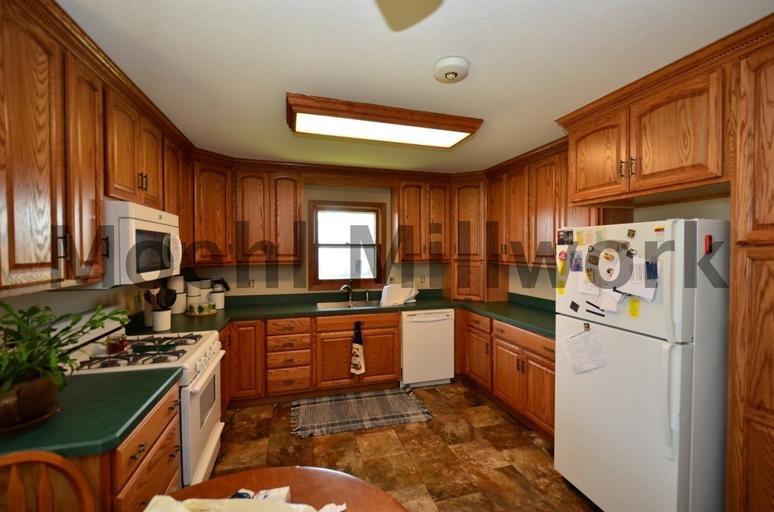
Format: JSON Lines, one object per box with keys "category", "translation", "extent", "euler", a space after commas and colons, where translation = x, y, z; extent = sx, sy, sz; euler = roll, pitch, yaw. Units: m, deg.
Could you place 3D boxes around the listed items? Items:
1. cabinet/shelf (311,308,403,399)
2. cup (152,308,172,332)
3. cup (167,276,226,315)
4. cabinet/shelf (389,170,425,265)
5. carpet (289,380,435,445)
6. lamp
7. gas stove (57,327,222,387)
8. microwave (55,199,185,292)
{"category": "cabinet/shelf", "translation": [-0.331, 0.960, 4.924], "extent": [0.894, 0.728, 0.327], "euler": [1, -6, -15]}
{"category": "cup", "translation": [-1.820, 0.538, 4.117], "extent": [0.165, 0.165, 0.161], "euler": [-1, 0, 0]}
{"category": "cup", "translation": [-1.765, 0.373, 4.708], "extent": [0.416, 0.252, 0.296], "euler": [-1, 1, -12]}
{"category": "cabinet/shelf", "translation": [0.268, -0.379, 5.424], "extent": [0.364, 0.862, 0.249], "euler": [0, 15, -2]}
{"category": "carpet", "translation": [-0.271, 1.444, 4.647], "extent": [1.263, 0.070, 0.747], "euler": [-3, 15, -14]}
{"category": "lamp", "translation": [-0.033, -1.028, 3.844], "extent": [1.444, 0.397, 0.335], "euler": [-3, 15, -13]}
{"category": "gas stove", "translation": [-1.785, 0.765, 3.853], "extent": [0.822, 0.324, 1.171], "euler": [8, -2, -11]}
{"category": "microwave", "translation": [-1.887, -0.069, 3.543], "extent": [0.509, 0.570, 0.911], "euler": [1, -1, -7]}
